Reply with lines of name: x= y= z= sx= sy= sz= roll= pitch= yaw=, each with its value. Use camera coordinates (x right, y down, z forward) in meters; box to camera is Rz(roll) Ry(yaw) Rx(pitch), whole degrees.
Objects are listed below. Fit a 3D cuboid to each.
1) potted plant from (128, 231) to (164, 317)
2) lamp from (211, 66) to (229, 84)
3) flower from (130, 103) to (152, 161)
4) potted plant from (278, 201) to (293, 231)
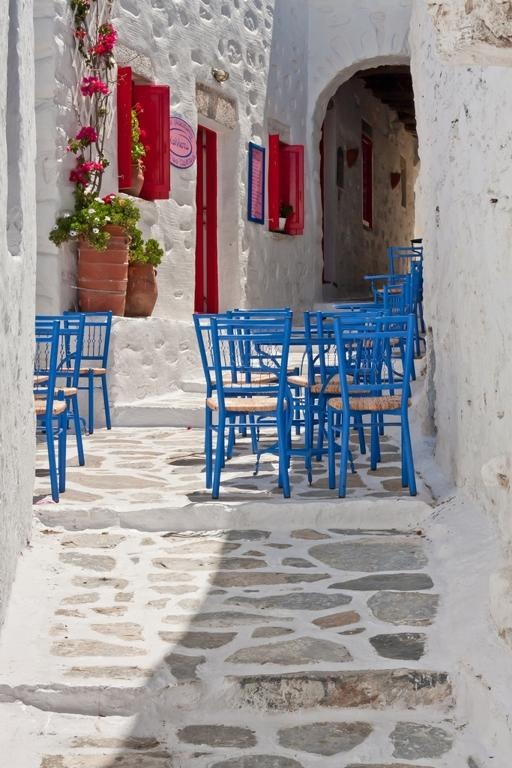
potted plant: x=-0.844 y=-0.796 z=6.579 sx=0.293 sy=0.632 sz=0.401 roll=0 pitch=-2 yaw=20
lamp: x=-0.297 y=-2.892 z=8.274 sx=0.100 sy=0.144 sz=0.404 roll=2 pitch=5 yaw=15
flower: x=-0.912 y=-1.953 z=6.839 sx=0.125 sy=0.468 sz=0.288 roll=1 pitch=5 yaw=3
potted plant: x=0.338 y=-1.880 z=9.881 sx=0.214 sy=0.451 sz=0.271 roll=1 pitch=6 yaw=-2
